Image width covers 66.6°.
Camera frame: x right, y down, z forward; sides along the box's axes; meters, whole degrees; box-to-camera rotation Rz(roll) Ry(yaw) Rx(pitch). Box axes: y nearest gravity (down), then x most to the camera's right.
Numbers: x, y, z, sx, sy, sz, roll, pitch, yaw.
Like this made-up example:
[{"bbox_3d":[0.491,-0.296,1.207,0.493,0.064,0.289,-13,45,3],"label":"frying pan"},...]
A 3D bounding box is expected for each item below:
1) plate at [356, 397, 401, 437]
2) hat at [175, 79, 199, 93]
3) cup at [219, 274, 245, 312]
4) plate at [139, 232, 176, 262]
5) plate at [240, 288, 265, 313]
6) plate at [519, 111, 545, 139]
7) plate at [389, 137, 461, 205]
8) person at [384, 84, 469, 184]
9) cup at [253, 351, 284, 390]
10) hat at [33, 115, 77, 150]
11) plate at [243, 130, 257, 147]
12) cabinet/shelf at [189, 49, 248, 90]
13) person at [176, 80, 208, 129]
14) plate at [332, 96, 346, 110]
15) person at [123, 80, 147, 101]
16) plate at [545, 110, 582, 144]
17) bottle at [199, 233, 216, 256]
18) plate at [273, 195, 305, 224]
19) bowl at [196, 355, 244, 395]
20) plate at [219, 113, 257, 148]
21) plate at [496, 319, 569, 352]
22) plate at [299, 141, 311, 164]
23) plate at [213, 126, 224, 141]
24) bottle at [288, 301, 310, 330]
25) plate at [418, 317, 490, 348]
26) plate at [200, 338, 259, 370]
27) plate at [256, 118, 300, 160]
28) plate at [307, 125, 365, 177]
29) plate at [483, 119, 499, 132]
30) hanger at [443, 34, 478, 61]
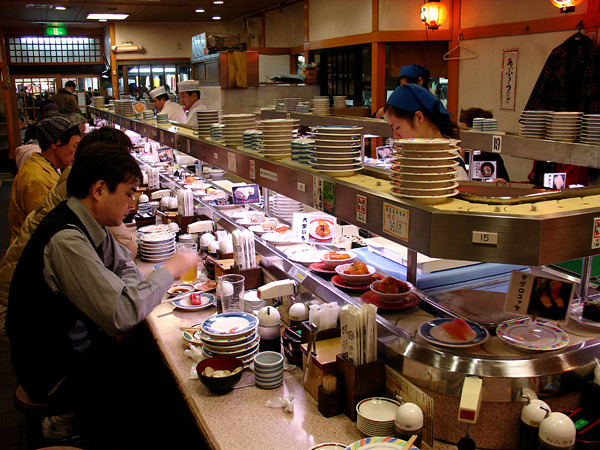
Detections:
[{"bbox_3d":[0.284,0.730,1.721,0.121,0.041,0.122,7,14,30],"label":"plate"},{"bbox_3d":[-1.908,-2.374,7.776,0.342,0.187,0.349,-5,13,-20],"label":"hat"},{"bbox_3d":[-0.387,0.395,2.565,0.196,0.225,0.142,1,3,9],"label":"cup"},{"bbox_3d":[-1.145,0.169,3.631,0.240,0.150,0.233,-5,14,-26],"label":"plate"},{"bbox_3d":[-0.274,0.440,2.634,0.131,0.056,0.134,-1,18,-9],"label":"plate"},{"bbox_3d":[2.172,-0.951,4.252,0.244,0.228,0.245,-17,23,-36],"label":"plate"},{"bbox_3d":[0.492,-0.220,1.830,0.261,0.201,0.256,-3,14,-2],"label":"plate"},{"bbox_3d":[0.775,-0.614,3.079,0.596,0.821,0.601,-1,15,14],"label":"person"},{"bbox_3d":[-0.142,0.664,2.052,0.137,0.110,0.141,-1,5,0],"label":"cup"},{"bbox_3d":[-2.156,-0.804,4.009,0.243,0.321,0.243,31,19,19],"label":"hat"},{"bbox_3d":[-0.344,-0.595,3.137,0.113,0.112,0.113,-7,11,-39],"label":"plate"},{"bbox_3d":[-1.651,-3.072,9.081,0.563,0.694,1.552,-14,19,-35],"label":"cabinet/shelf"},{"bbox_3d":[-1.820,-2.089,7.913,0.518,0.885,0.980,-4,12,-8],"label":"person"},{"bbox_3d":[0.664,-2.109,7.799,0.232,0.180,0.236,7,20,24],"label":"plate"},{"bbox_3d":[-5.242,-4.335,14.554,0.716,0.505,1.060,-7,17,-17],"label":"person"},{"bbox_3d":[2.237,-0.870,3.985,0.285,0.243,0.292,-2,16,-1],"label":"plate"},{"bbox_3d":[-0.701,0.159,3.383,0.123,0.148,0.169,1,3,-4],"label":"bottle"},{"bbox_3d":[-0.102,-0.138,3.720,0.221,0.215,0.225,4,10,27],"label":"plate"},{"bbox_3d":[-0.348,0.685,2.017,0.194,0.098,0.196,0,6,0],"label":"bowl"},{"bbox_3d":[-0.456,-0.710,3.410,0.247,0.188,0.252,1,11,6],"label":"plate"},{"bbox_3d":[0.907,0.449,1.801,0.262,0.039,0.269,-6,10,0],"label":"plate"},{"bbox_3d":[0.036,-0.411,2.527,0.095,0.110,0.103,2,8,9],"label":"plate"},{"bbox_3d":[-0.664,-0.751,3.711,0.102,0.136,0.140,1,1,-14],"label":"plate"},{"bbox_3d":[-0.008,0.464,2.281,0.107,0.132,0.109,1,0,3],"label":"bottle"},{"bbox_3d":[0.603,0.436,1.814,0.266,0.066,0.189,4,17,21],"label":"plate"},{"bbox_3d":[-0.341,0.597,2.189,0.161,0.064,0.163,4,8,27],"label":"plate"},{"bbox_3d":[-0.142,-0.524,2.750,0.235,0.203,0.241,0,12,6],"label":"plate"},{"bbox_3d":[0.168,-0.393,2.319,0.249,0.189,0.254,-6,14,-20],"label":"plate"},{"bbox_3d":[2.003,-1.056,4.820,0.127,0.118,0.129,-2,6,-23],"label":"plate"},{"bbox_3d":[2.647,-2.954,7.492,0.014,0.344,0.537,-21,25,-32],"label":"hanger"}]
